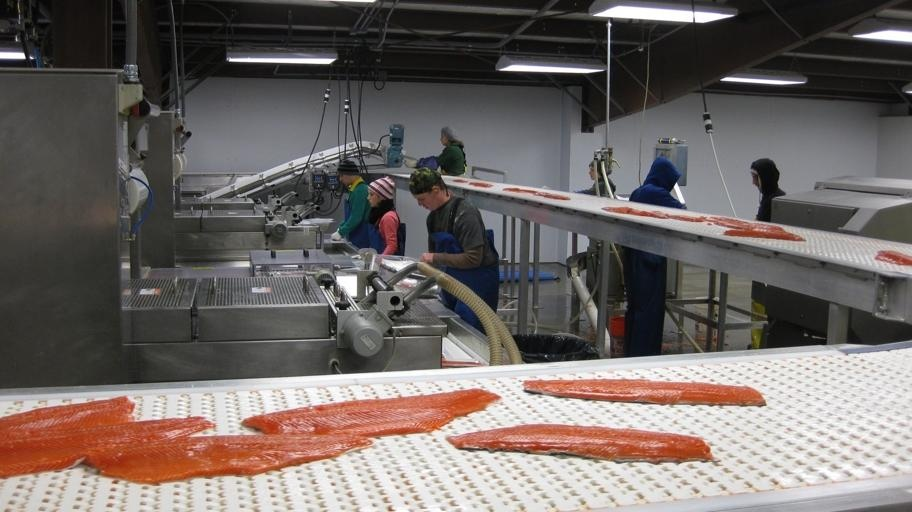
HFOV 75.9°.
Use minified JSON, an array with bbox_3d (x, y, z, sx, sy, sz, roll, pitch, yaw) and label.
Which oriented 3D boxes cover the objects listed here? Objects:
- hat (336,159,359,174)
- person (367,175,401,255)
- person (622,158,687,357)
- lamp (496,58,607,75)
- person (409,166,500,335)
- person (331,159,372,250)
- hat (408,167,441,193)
[{"bbox_3d":[-1.126,-0.887,5.840,0.254,0.137,0.246,10,13,27],"label":"hat"},{"bbox_3d":[-0.630,-0.359,5.255,0.321,0.704,0.838,1,7,-7],"label":"person"},{"bbox_3d":[1.486,0.031,4.442,0.398,1.576,0.815,4,8,17],"label":"person"},{"bbox_3d":[1.147,-2.198,6.719,1.190,0.134,0.625,1,7,-11],"label":"lamp"},{"bbox_3d":[0.003,-0.040,3.741,0.605,1.030,0.711,1,7,-6],"label":"person"},{"bbox_3d":[-1.024,-0.538,5.795,0.335,0.879,1.392,0,7,-8],"label":"person"},{"bbox_3d":[-0.197,-0.474,3.778,0.201,0.126,0.141,-26,36,-7],"label":"hat"}]
